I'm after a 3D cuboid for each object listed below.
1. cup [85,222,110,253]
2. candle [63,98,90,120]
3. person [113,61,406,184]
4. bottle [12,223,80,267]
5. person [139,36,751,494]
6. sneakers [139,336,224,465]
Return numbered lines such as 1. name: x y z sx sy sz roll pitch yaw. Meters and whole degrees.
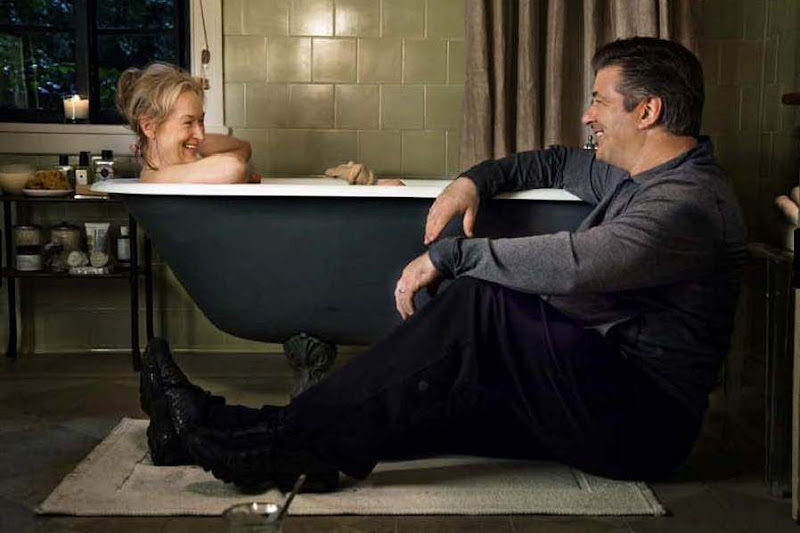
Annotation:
1. cup: -1.222 -0.120 3.016 0.111 0.115 0.108 0 -4 0
2. candle: -1.379 -0.670 3.105 0.100 0.092 0.098 0 0 2
3. person: -0.382 -0.419 2.411 1.003 0.424 0.498 -1 7 -8
4. bottle: -1.408 -0.088 2.971 0.298 0.208 0.165 0 1 -3
5. person: 0.330 0.029 2.297 1.791 1.265 0.801 0 3 5
6. sneakers: -0.593 0.356 2.019 0.154 0.188 0.440 1 16 -8
